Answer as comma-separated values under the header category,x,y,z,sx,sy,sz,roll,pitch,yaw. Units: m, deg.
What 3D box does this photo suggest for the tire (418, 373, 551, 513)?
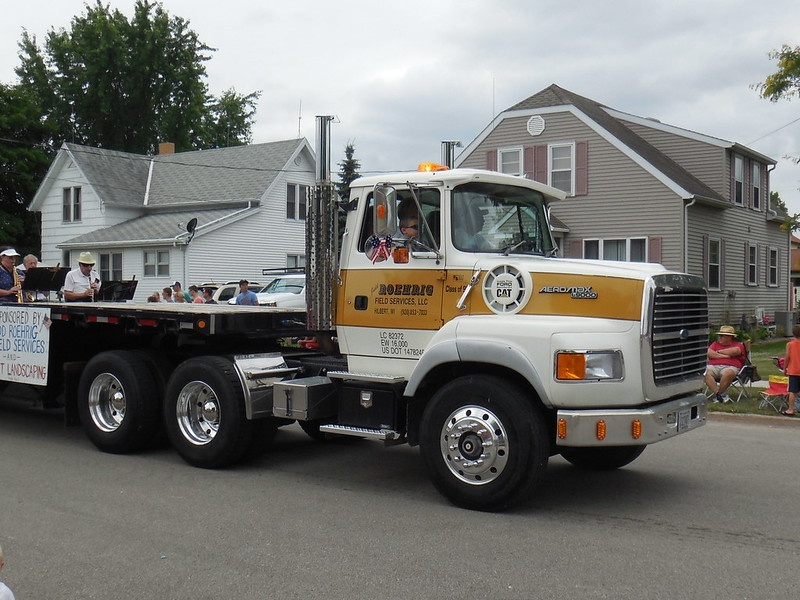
category,x,y,z,sx,sy,sz,roll,pitch,yaw
tire,0.835,1.352,6.928,1.108,1.279,0.524,-2,-10,34

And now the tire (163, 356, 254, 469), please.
category,x,y,z,sx,sy,sz,roll,pitch,yaw
tire,-2.234,1.302,8.490,1.151,1.354,0.426,-1,1,42

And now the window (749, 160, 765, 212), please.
category,x,y,z,sx,sy,sz,roll,pitch,yaw
window,14.376,-4.711,29.006,0.254,2.602,1.787,-2,-1,33

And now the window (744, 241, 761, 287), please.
category,x,y,z,sx,sy,sz,roll,pitch,yaw
window,14.338,-1.518,29.336,0.199,2.204,1.693,-1,0,36

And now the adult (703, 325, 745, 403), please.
category,x,y,z,sx,sy,sz,roll,pitch,yaw
adult,5.860,1.129,13.049,0.700,1.519,0.619,17,-17,-30

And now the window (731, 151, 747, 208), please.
category,x,y,z,sx,sy,sz,roll,pitch,yaw
window,12.741,-4.643,27.100,0.280,2.351,1.873,-2,-1,29

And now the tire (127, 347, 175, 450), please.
category,x,y,z,sx,sy,sz,roll,pitch,yaw
tire,-3.141,1.224,9.033,0.386,1.215,1.068,-3,0,-44

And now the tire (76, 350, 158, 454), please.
category,x,y,z,sx,sy,sz,roll,pitch,yaw
tire,-3.687,1.308,9.319,0.927,1.074,0.348,9,1,23

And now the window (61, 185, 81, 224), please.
category,x,y,z,sx,sy,sz,roll,pitch,yaw
window,-16.967,-4.963,37.143,1.787,2.781,0.202,-1,-1,41

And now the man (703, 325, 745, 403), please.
category,x,y,z,sx,sy,sz,roll,pitch,yaw
man,5.854,1.122,13.029,0.740,1.488,0.697,11,-15,-11

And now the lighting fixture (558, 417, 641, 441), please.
category,x,y,z,sx,sy,sz,roll,pitch,yaw
lighting fixture,1.701,1.167,6.589,0.315,0.122,0.372,0,-2,-10
